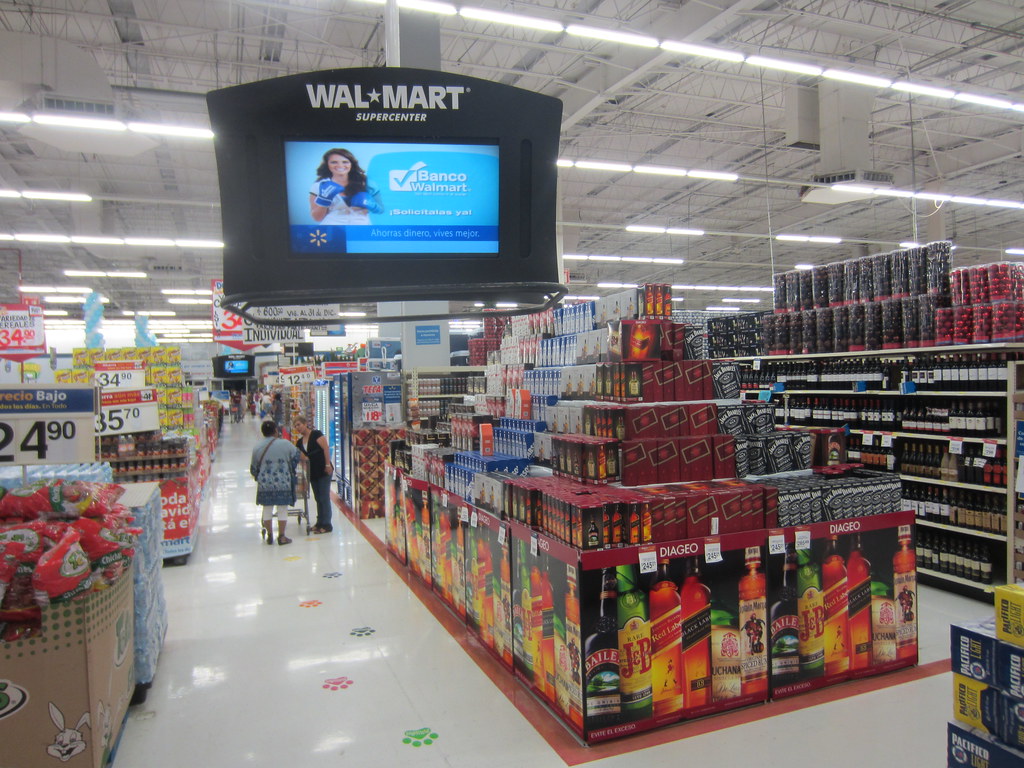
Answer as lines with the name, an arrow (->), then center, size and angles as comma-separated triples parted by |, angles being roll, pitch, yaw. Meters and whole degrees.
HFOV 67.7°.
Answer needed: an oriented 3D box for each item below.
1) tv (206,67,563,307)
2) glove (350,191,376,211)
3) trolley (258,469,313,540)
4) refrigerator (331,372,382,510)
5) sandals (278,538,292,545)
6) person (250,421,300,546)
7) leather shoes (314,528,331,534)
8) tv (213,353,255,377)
tv -> -0.676, -1.045, 4.141 | 1.456, 0.959, 0.440 | 0, 0, -10
glove -> -0.800, -0.976, 4.125 | 0.127, 0.092, 0.113 | -7, 9, 6
trolley -> -3.275, 1.633, 10.974 | 0.925, 1.319, 0.742 | 2, -2, -21
refrigerator -> -2.365, 0.876, 11.656 | 0.712, 1.990, 2.102 | -2, -1, -14
sandals -> -2.872, 1.966, 9.596 | 0.078, 0.063, 0.151 | 4, 5, 30
person -> -3.023, 1.245, 9.760 | 0.542, 1.668, 0.851 | -5, 9, -17
leather shoes -> -2.522, 1.941, 10.079 | 0.065, 0.075, 0.191 | -5, -18, 23
tv -> -9.974, -0.658, 27.794 | 1.488, 0.836, 1.057 | 0, 3, 21
